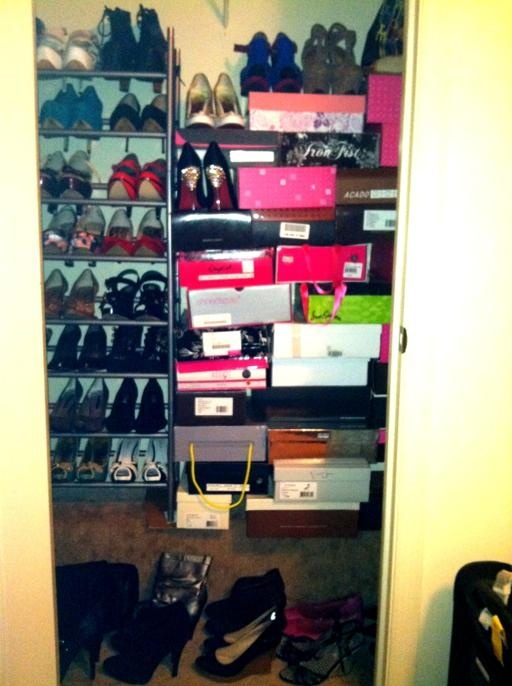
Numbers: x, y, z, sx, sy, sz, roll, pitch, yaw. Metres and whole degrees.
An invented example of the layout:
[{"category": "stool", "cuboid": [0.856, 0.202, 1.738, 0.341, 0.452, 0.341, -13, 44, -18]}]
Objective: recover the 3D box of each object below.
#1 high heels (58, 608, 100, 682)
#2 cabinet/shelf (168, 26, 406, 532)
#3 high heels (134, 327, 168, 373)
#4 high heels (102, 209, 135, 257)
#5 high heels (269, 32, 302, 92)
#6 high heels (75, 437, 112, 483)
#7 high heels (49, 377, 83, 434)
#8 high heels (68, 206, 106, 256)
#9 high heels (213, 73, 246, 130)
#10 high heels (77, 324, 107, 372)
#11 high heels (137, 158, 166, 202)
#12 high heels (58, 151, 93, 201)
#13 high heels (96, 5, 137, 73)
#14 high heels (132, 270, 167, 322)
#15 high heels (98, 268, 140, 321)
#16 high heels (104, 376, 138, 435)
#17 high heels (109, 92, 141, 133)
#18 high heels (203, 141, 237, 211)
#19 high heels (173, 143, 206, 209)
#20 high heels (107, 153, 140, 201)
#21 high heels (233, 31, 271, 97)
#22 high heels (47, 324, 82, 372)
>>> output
[{"category": "high heels", "cuboid": [-0.417, 0.709, 1.418, 0.069, 0.057, 0.186, 1, 53, -5]}, {"category": "cabinet/shelf", "cuboid": [0.081, -0.088, 1.649, 0.627, 1.186, 0.206, -1, 9, 0]}, {"category": "high heels", "cuboid": [-0.305, 0.018, 1.756, 0.059, 0.077, 0.178, 2, 24, -4]}, {"category": "high heels", "cuboid": [-0.397, -0.326, 1.742, 0.089, 0.140, 0.278, -3, 10, -11]}, {"category": "high heels", "cuboid": [0.083, -0.800, 1.721, 0.072, 0.224, 0.077, -2, -3, 10]}, {"category": "high heels", "cuboid": [-0.468, 0.342, 1.756, 0.063, 0.047, 0.170, 4, 31, -5]}, {"category": "high heels", "cuboid": [-0.549, 0.182, 1.787, 0.065, 0.079, 0.195, 1, 27, -1]}, {"category": "high heels", "cuboid": [-0.479, -0.321, 1.711, 0.064, 0.191, 0.057, 19, -33, -32]}, {"category": "high heels", "cuboid": [-0.083, -0.682, 1.713, 0.068, 0.085, 0.215, -6, 57, -6]}, {"category": "high heels", "cuboid": [-0.483, 0.008, 1.764, 0.063, 0.052, 0.193, 2, 44, -14]}, {"category": "high heels", "cuboid": [-0.284, -0.461, 1.671, 0.050, 0.061, 0.158, 1, 44, -10]}, {"category": "high heels", "cuboid": [-0.502, -0.475, 1.712, 0.067, 0.095, 0.211, 4, 34, -13]}, {"category": "high heels", "cuboid": [-0.398, -0.860, 1.728, 0.105, 0.225, 0.285, -3, 10, -13]}, {"category": "high heels", "cuboid": [-0.313, -0.146, 1.800, 0.076, 0.069, 0.223, -1, 26, -5]}, {"category": "high heels", "cuboid": [-0.396, -0.149, 1.801, 0.079, 0.091, 0.230, -1, 25, 1]}, {"category": "high heels", "cuboid": [-0.393, 0.184, 1.765, 0.064, 0.071, 0.184, 10, 44, -12]}, {"category": "high heels", "cuboid": [-0.370, -0.658, 1.709, 0.087, 0.141, 0.178, -3, 10, -11]}, {"category": "high heels", "cuboid": [-0.095, -0.437, 1.582, 0.086, 0.178, 0.117, -2, 9, -6]}, {"category": "high heels", "cuboid": [-0.172, -0.435, 1.570, 0.076, 0.168, 0.112, -3, 9, -10]}, {"category": "high heels", "cuboid": [-0.377, -0.491, 1.716, 0.066, 0.071, 0.186, 7, 58, -14]}, {"category": "high heels", "cuboid": [-0.002, -0.798, 1.746, 0.081, 0.274, 0.111, 0, -5, 13]}, {"category": "high heels", "cuboid": [-0.568, 0.010, 1.766, 0.064, 0.059, 0.204, 6, 50, -17]}]
